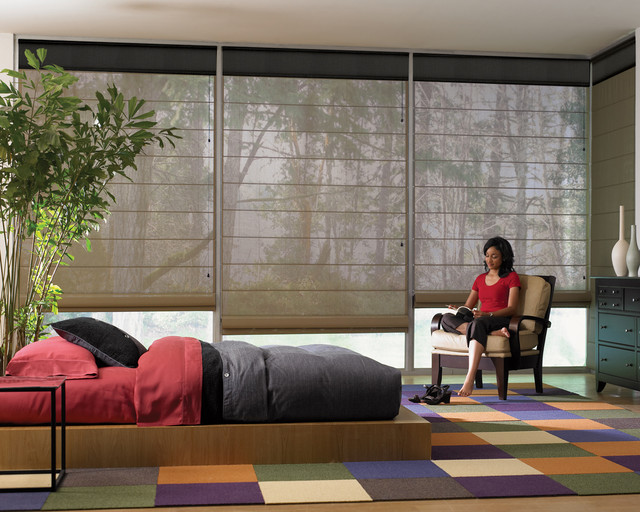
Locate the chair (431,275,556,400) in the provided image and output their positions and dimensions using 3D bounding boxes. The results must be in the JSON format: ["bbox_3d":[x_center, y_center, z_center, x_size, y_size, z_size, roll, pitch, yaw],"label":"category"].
[{"bbox_3d":[1.410,0.640,5.303,0.914,1.000,0.756,5,-6,-45],"label":"chair"}]

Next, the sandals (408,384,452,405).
[{"bbox_3d":[0.824,1.022,4.758,0.352,0.157,0.131,2,-4,5],"label":"sandals"}]
